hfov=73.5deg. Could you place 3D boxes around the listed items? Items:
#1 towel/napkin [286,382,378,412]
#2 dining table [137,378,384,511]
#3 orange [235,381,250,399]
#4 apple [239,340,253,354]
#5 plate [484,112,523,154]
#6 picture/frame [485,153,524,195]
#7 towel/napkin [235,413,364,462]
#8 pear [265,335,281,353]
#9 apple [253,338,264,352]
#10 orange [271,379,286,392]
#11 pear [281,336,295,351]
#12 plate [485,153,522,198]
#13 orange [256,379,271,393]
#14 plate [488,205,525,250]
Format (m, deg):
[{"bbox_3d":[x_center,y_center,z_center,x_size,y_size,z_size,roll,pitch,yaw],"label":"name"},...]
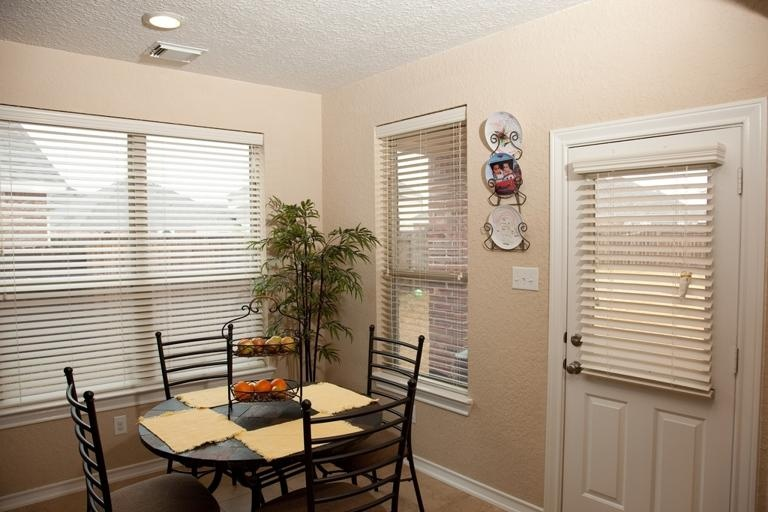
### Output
[{"bbox_3d":[-0.361,0.946,3.412,0.401,0.024,0.523,0,3,-34],"label":"towel/napkin"},{"bbox_3d":[-0.737,1.189,3.172,1.235,0.309,1.116,-1,1,-28],"label":"dining table"},{"bbox_3d":[-0.826,0.796,3.035,0.094,0.103,0.091,0,-6,7],"label":"orange"},{"bbox_3d":[-0.845,0.557,3.136,0.081,0.078,0.061,-1,2,-24],"label":"apple"},{"bbox_3d":[0.862,-0.881,3.707,0.301,0.288,0.071,7,15,38],"label":"plate"},{"bbox_3d":[0.863,-0.589,3.706,0.248,0.289,0.073,-1,6,31],"label":"picture/frame"},{"bbox_3d":[-0.497,1.048,2.986,0.694,0.110,0.351,-1,1,-18],"label":"towel/napkin"},{"bbox_3d":[-0.684,0.550,3.171,0.091,0.089,0.103,-1,1,-13],"label":"pear"},{"bbox_3d":[-0.770,0.555,3.190,0.073,0.069,0.070,1,-8,41],"label":"apple"},{"bbox_3d":[-0.628,0.775,3.072,0.065,0.059,0.063,9,-13,-19],"label":"orange"},{"bbox_3d":[-0.583,0.551,3.175,0.079,0.087,0.079,0,22,-3],"label":"pear"},{"bbox_3d":[0.864,-0.573,3.707,0.254,0.302,0.076,-9,-2,32],"label":"plate"},{"bbox_3d":[-0.718,0.774,3.052,0.071,0.064,0.070,8,-10,-26],"label":"orange"},{"bbox_3d":[0.886,-0.209,3.712,0.061,0.280,0.285,-14,0,-39],"label":"plate"}]
